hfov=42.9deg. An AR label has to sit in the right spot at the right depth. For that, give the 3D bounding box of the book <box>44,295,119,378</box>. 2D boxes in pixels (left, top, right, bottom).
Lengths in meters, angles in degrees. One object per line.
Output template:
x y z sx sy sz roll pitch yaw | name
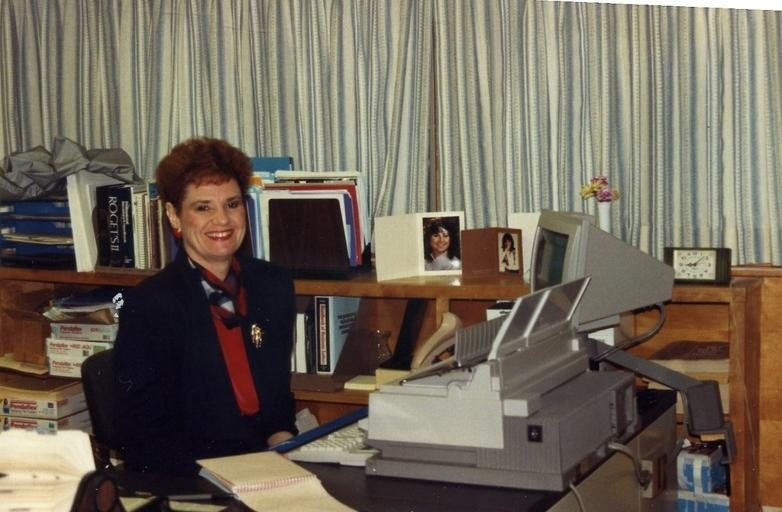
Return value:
-1.493 0.359 4.791 0.432 0.260 0.420 0 3 -4 | book

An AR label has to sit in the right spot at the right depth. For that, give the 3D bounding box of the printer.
0.445 0.423 3.745 0.850 0.650 1.050 -2 1 37 | printer

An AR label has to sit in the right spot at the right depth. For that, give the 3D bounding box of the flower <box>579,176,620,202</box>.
0.984 -0.307 4.599 0.175 0.122 0.203 0 2 12 | flower

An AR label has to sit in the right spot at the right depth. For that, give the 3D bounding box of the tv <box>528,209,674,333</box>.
0.896 0.045 4.156 0.556 0.449 0.480 -1 4 -22 | tv
